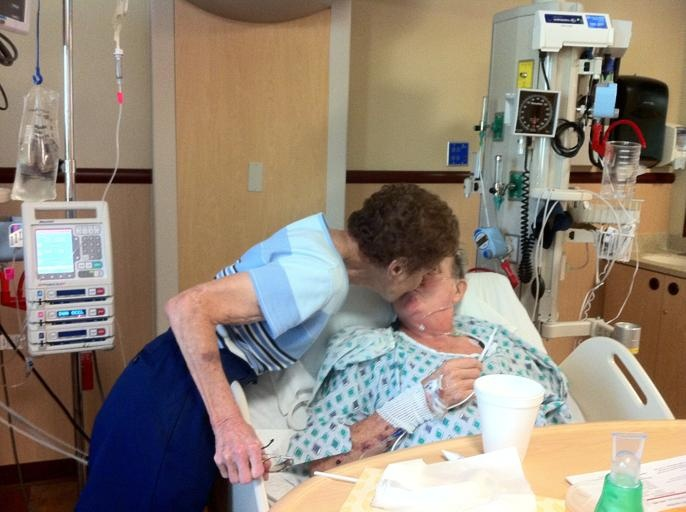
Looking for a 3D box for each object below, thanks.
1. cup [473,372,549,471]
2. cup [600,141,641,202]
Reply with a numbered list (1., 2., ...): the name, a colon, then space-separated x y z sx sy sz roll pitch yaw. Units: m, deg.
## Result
1. cup: 0.354 0.373 1.281 0.164 0.191 0.180 2 6 0
2. cup: 1.229 -0.376 2.429 0.145 0.252 0.181 7 16 25
